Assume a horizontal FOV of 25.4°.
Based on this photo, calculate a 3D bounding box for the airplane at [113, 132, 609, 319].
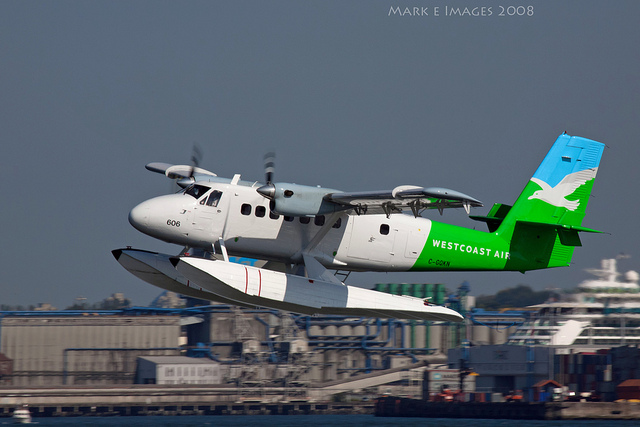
[{"bbox_3d":[2.683,1.819,95.425,21.920,6.252,21.386,7,-6,-19],"label":"airplane"}]
